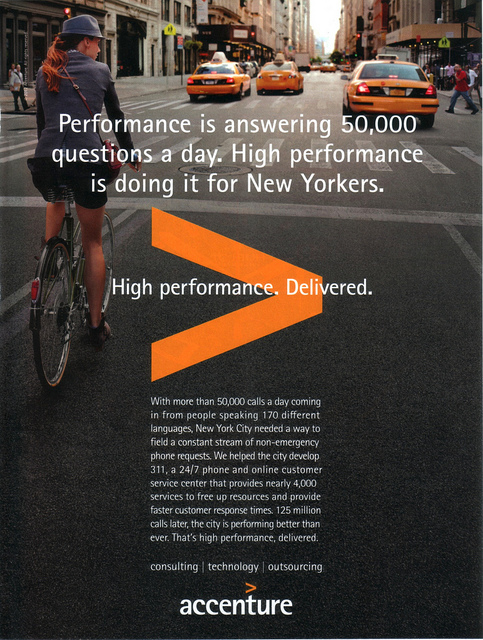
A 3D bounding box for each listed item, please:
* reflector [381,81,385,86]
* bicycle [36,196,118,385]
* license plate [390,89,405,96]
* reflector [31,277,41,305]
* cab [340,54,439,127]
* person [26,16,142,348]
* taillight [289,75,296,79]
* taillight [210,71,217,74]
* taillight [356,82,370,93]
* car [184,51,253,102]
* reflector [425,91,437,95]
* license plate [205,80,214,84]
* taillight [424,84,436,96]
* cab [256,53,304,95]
[{"bbox_3d":[3.847,-6.466,15.597,0.138,0.124,0.074,-11,16,-42],"label":"reflector"},{"bbox_3d":[-0.961,-0.186,3.656,0.495,0.681,1.143,1,24,2],"label":"bicycle"},{"bbox_3d":[4.261,-6.247,15.641,0.395,0.130,0.086,-1,12,-9],"label":"license plate"},{"bbox_3d":[-1.127,-0.156,3.123,0.044,0.134,0.069,-2,12,-16],"label":"reflector"},{"bbox_3d":[4.391,-6.861,16.949,2.518,2.190,3.673,4,14,13],"label":"cab"},{"bbox_3d":[-0.991,-0.765,3.577,0.419,2.139,0.646,4,11,18],"label":"person"},{"bbox_3d":[2.861,-13.759,32.303,0.252,0.277,0.195,3,10,-12],"label":"taillight"},{"bbox_3d":[-1.475,-12.685,29.250,0.328,0.188,0.406,-1,14,-8],"label":"taillight"},{"bbox_3d":[3.295,-6.335,15.569,0.215,0.083,0.355,-3,54,12],"label":"taillight"},{"bbox_3d":[-1.079,-12.775,30.090,2.201,2.013,4.578,6,15,21],"label":"car"},{"bbox_3d":[5.270,-6.358,15.974,0.507,0.093,0.138,-11,17,-35],"label":"reflector"},{"bbox_3d":[-1.623,-11.984,28.773,0.556,0.084,0.328,-2,-3,-7],"label":"license plate"},{"bbox_3d":[5.322,-6.423,16.009,0.250,0.166,0.806,13,44,8],"label":"taillight"},{"bbox_3d":[2.306,-14.948,34.987,2.339,2.369,5.386,2,22,9],"label":"cab"}]
